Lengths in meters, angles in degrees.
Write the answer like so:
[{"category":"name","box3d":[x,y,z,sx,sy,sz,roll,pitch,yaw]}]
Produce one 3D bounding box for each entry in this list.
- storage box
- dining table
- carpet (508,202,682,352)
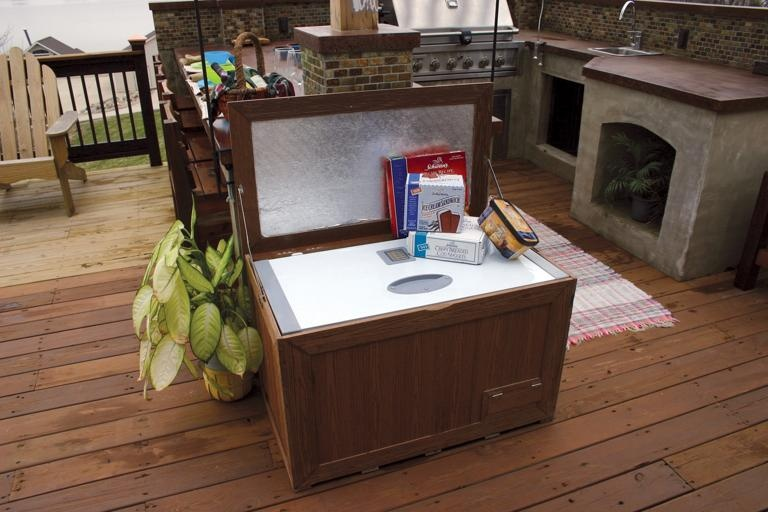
[{"category":"storage box","box3d":[0.038,0.099,2.532,1.453,1.654,0.978,-12,32,-13]},{"category":"dining table","box3d":[-0.564,-0.991,3.446,3.077,0.554,1.693,-6,32,-8]},{"category":"carpet","box3d":[1.403,0.216,3.494,0.765,0.054,1.411,-11,35,-16]}]
